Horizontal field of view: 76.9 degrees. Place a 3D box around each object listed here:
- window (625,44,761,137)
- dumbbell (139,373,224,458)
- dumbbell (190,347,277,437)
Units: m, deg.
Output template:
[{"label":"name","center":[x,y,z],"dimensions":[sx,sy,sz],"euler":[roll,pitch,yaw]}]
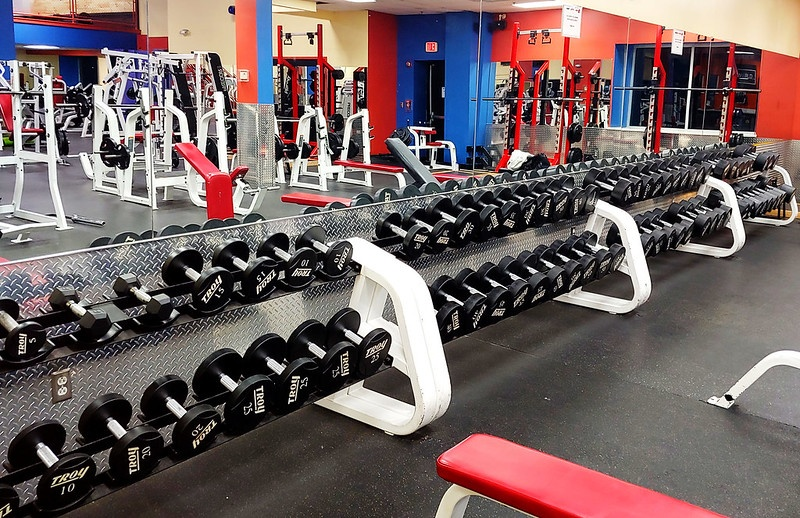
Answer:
[{"label":"window","center":[3.330,-1.993,5.829],"dimensions":[1.425,0.814,0.035],"euler":[-3,5,-30]},{"label":"dumbbell","center":[-0.800,0.561,1.835],"dimensions":[0.183,0.191,0.281],"euler":[-31,26,-19]},{"label":"dumbbell","center":[-0.642,0.503,1.938],"dimensions":[0.207,0.215,0.270],"euler":[-35,28,-16]}]
